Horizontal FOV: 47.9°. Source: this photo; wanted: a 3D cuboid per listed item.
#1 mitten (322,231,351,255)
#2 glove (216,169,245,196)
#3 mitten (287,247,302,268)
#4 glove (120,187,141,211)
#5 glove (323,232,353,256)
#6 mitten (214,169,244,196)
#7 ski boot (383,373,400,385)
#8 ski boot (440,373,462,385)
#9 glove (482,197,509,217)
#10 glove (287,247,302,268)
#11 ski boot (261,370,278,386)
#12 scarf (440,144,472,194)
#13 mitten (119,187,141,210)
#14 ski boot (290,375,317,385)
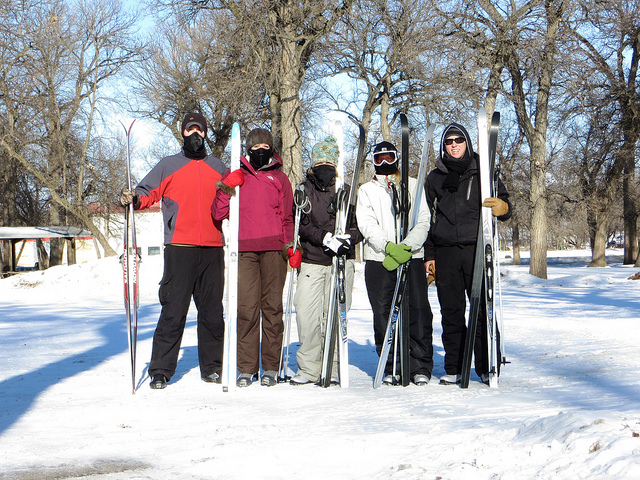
[{"bbox_3d":[0.211,0.027,8.844,0.250,0.261,0.116,26,33,8],"label":"mitten"},{"bbox_3d":[-1.104,-0.718,8.914,0.230,0.367,0.121,35,-8,7],"label":"glove"},{"bbox_3d":[-0.320,0.214,8.950,0.157,0.230,0.081,-7,1,13],"label":"mitten"},{"bbox_3d":[-2.369,-0.521,8.944,0.193,0.273,0.124,-9,2,-16],"label":"glove"},{"bbox_3d":[0.217,0.048,8.895,0.359,0.275,0.184,-3,11,-2],"label":"glove"},{"bbox_3d":[-1.126,-0.693,8.845,0.222,0.372,0.132,32,-2,2],"label":"mitten"},{"bbox_3d":[0.892,1.730,8.960,0.143,0.091,0.243,-1,3,10],"label":"ski boot"},{"bbox_3d":[1.609,1.712,8.897,0.266,0.124,0.115,11,-13,-28],"label":"ski boot"},{"bbox_3d":[2.141,-0.407,8.761,0.327,0.227,0.090,-4,11,-10],"label":"glove"},{"bbox_3d":[-0.323,0.212,8.949,0.158,0.231,0.080,-11,1,17],"label":"glove"},{"bbox_3d":[-0.636,1.724,9.026,0.212,0.174,0.174,-3,12,-5],"label":"ski boot"},{"bbox_3d":[1.629,-0.876,8.758,0.327,0.481,0.186,15,6,19],"label":"scarf"},{"bbox_3d":[-2.394,-0.517,8.991,0.232,0.292,0.343,-10,14,-34],"label":"mitten"},{"bbox_3d":[-0.262,1.759,9.098,0.212,0.097,0.101,0,2,-16],"label":"ski boot"}]
